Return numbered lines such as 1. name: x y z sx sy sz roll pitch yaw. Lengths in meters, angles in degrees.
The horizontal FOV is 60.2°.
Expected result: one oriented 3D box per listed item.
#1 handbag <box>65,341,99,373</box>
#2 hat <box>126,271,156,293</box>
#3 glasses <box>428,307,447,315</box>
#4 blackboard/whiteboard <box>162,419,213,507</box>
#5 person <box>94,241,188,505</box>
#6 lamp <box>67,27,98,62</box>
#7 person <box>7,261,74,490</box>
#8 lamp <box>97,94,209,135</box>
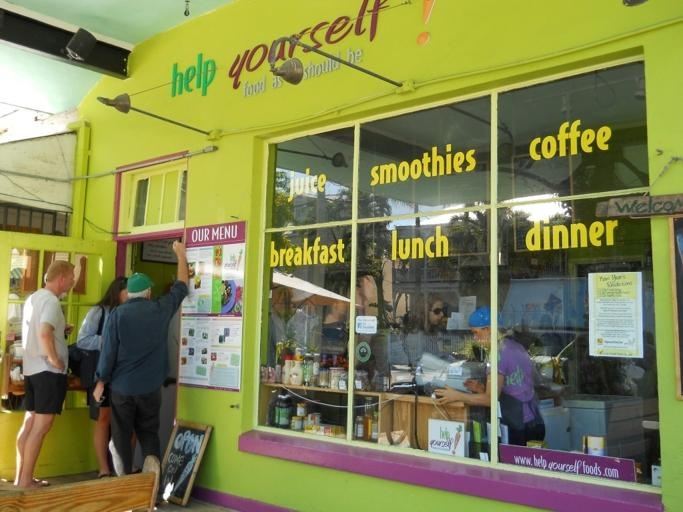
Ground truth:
1. handbag: -3.031 1.169 6.976 0.376 0.538 0.263 1 -7 -16
2. hat: -2.229 0.300 6.546 0.192 0.172 0.271 0 18 6
3. glasses: 0.866 0.497 5.288 0.150 0.109 0.045 -7 5 39
4. blackboard/whiteboard: -1.675 2.322 6.484 0.060 0.998 0.807 27 -21 -36
5. person: -2.186 1.239 6.561 0.964 2.711 0.572 -3 16 -27
6. lamp: -3.277 -2.648 7.409 0.357 0.344 0.515 5 -7 -26
7. person: -3.359 1.314 6.629 0.494 2.536 0.855 6 -7 -28
8. lamp: -2.295 -1.771 7.351 1.001 0.093 0.214 18 -46 -23
